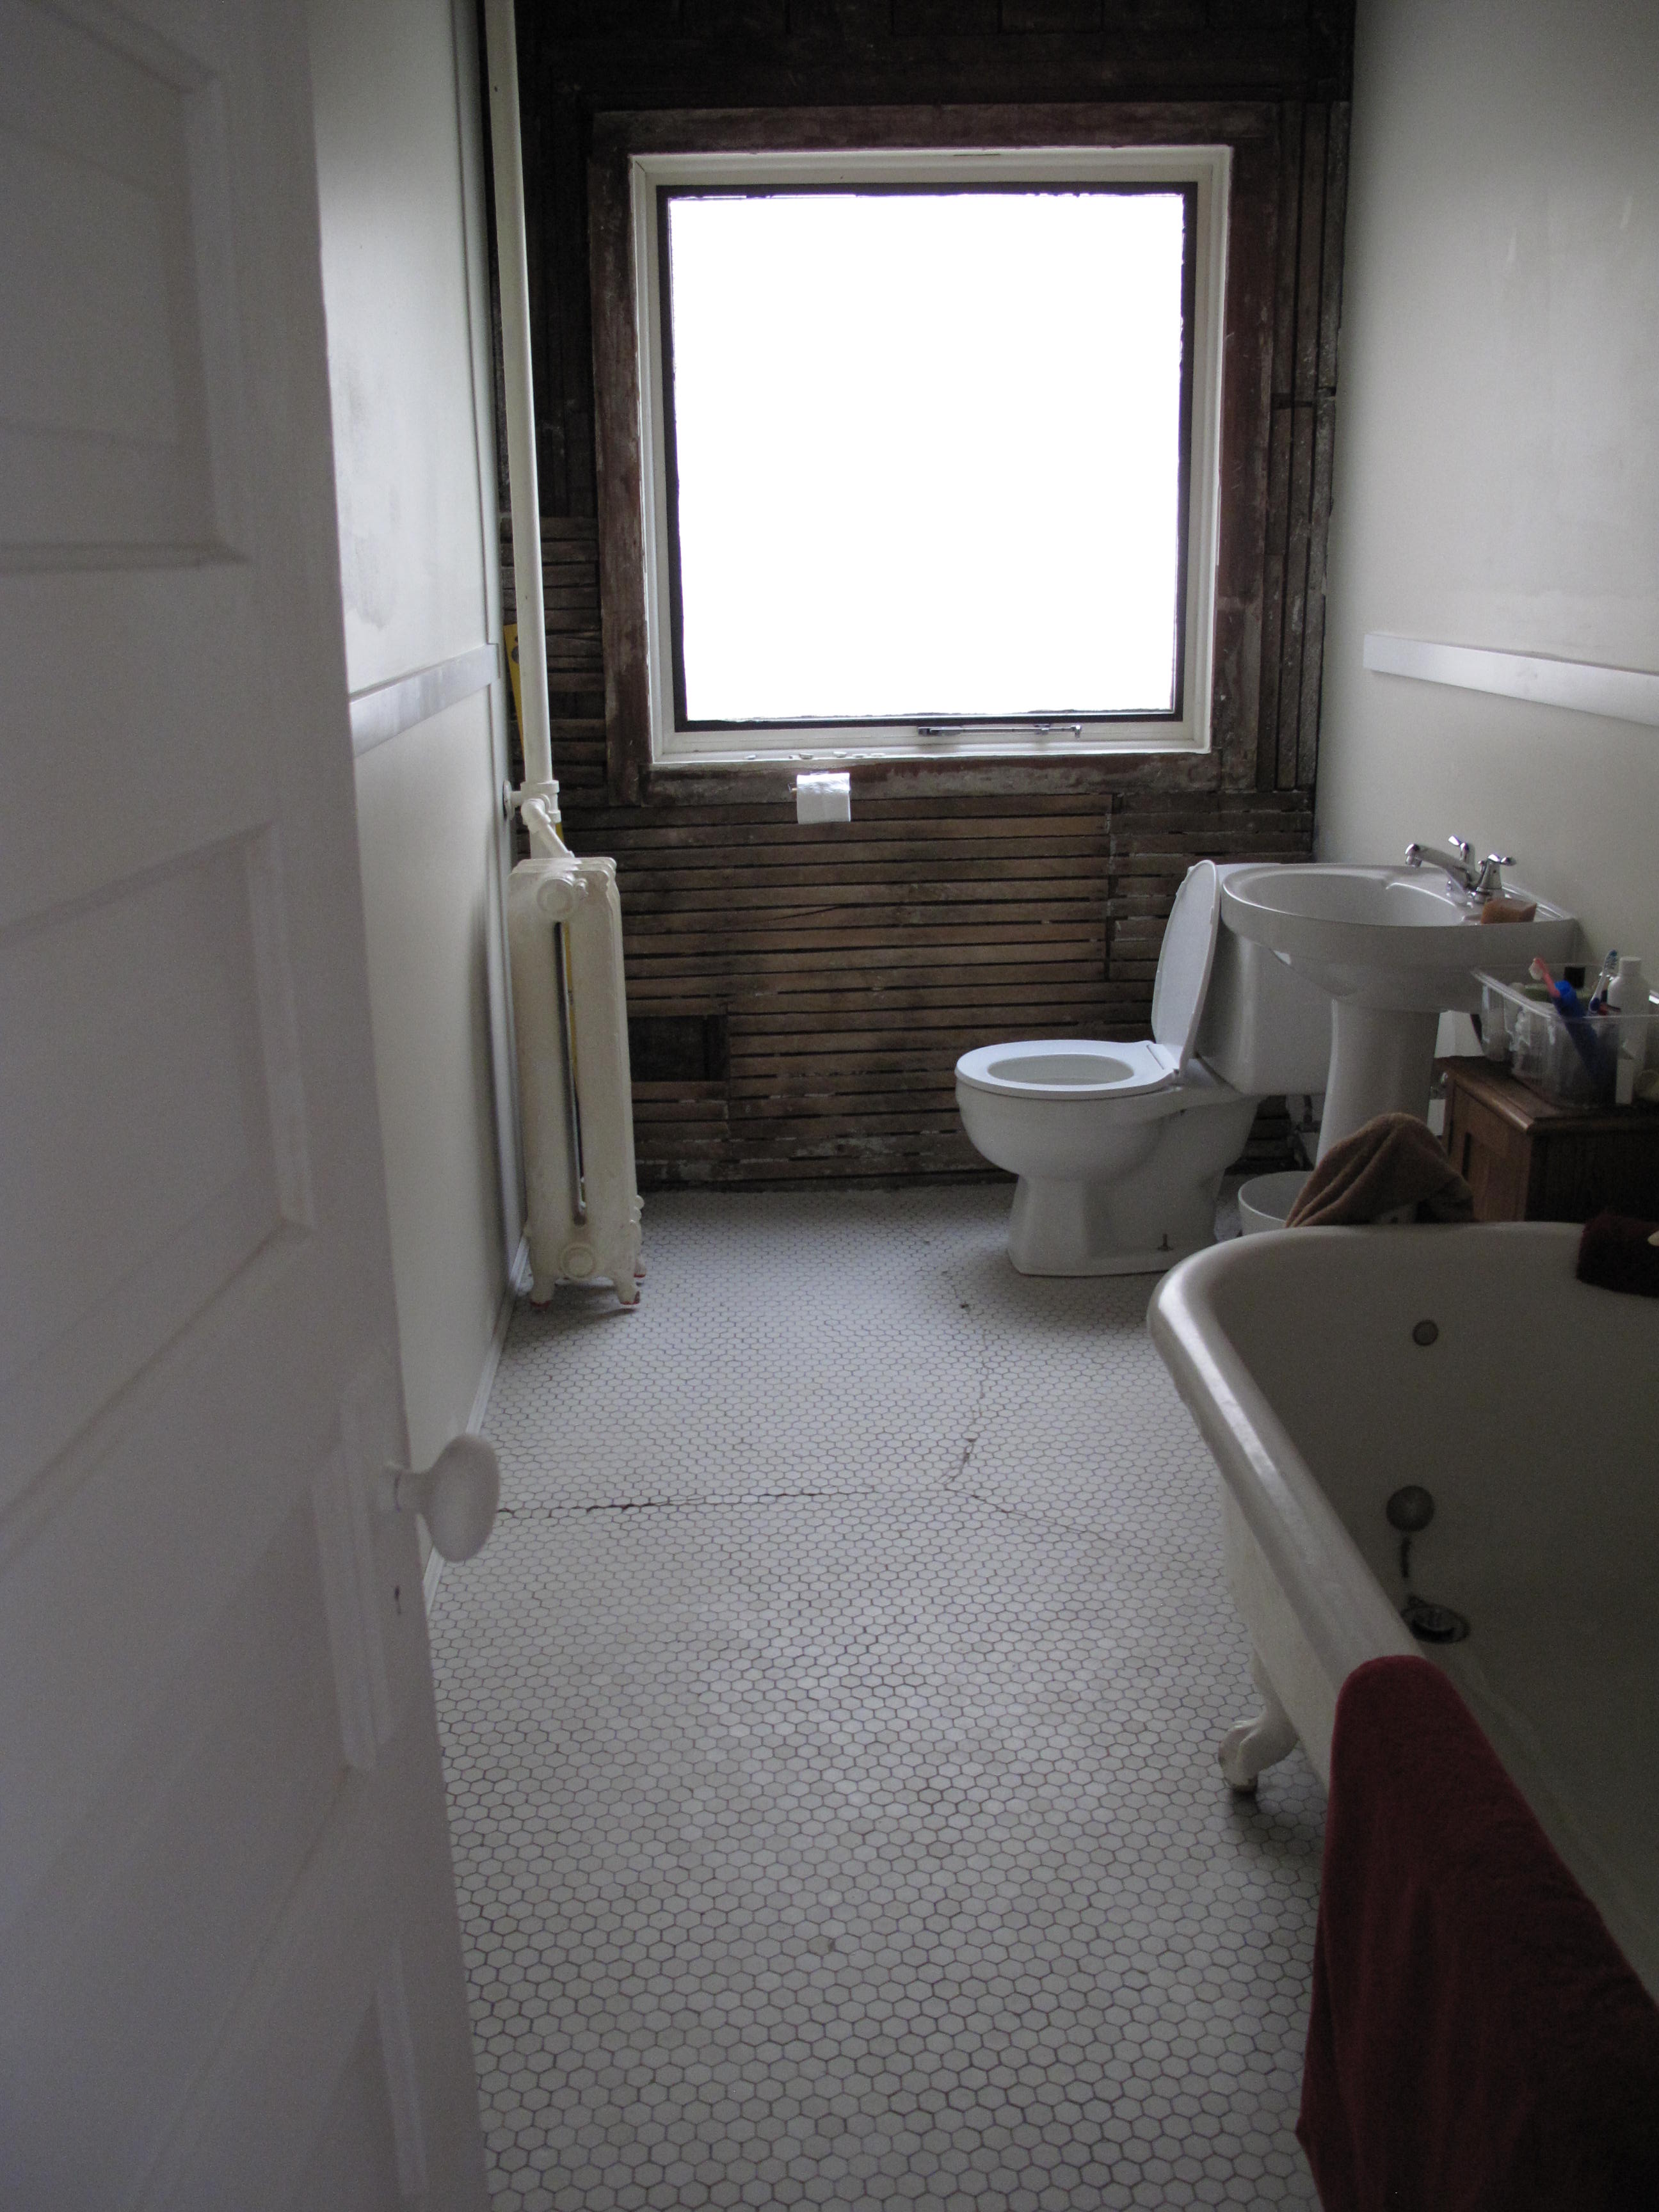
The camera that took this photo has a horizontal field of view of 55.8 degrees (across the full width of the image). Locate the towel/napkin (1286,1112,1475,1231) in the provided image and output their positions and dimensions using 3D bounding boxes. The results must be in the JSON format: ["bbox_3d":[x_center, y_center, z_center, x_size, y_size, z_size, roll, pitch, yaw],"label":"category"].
[{"bbox_3d":[0.732,0.090,2.089,0.224,0.150,0.152,2,14,12],"label":"towel/napkin"}]

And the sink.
[{"bbox_3d":[1.024,-0.306,2.859,0.569,0.196,0.567,-1,16,3],"label":"sink"}]

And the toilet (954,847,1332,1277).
[{"bbox_3d":[0.630,-0.187,3.912,0.844,1.361,0.638,-1,21,-1],"label":"toilet"}]

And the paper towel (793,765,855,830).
[{"bbox_3d":[-0.015,-0.751,3.790,0.134,0.117,0.097,-2,13,-3],"label":"paper towel"}]
